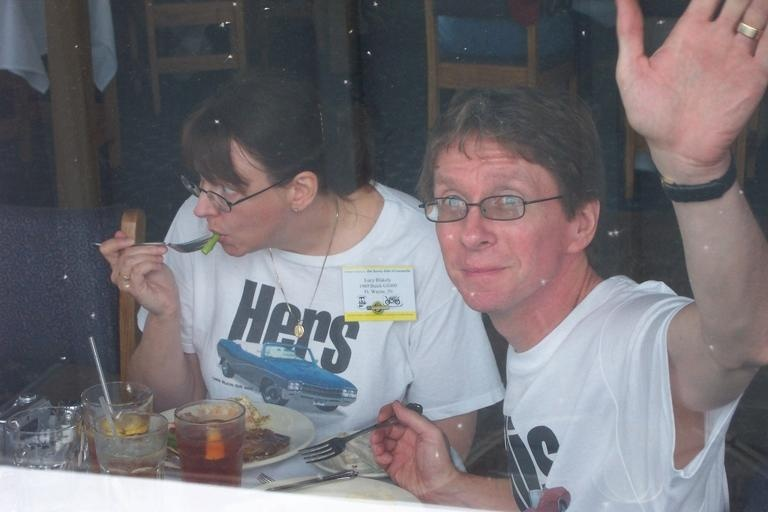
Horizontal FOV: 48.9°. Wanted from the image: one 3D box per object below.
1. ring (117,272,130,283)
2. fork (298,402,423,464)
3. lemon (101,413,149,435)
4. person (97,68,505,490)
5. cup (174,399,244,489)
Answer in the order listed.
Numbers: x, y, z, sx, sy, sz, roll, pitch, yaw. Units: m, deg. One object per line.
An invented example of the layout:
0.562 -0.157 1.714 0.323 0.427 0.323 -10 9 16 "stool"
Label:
-0.611 0.049 1.976 0.026 0.025 0.022 6 -5 12 "ring"
-0.045 0.398 1.889 0.289 0.040 0.033 -19 -19 -3 "fork"
-0.533 0.345 1.744 0.059 0.022 0.057 1 9 9 "lemon"
-0.172 0.051 1.947 0.883 0.809 0.582 6 19 19 "person"
-0.354 0.391 1.732 0.120 0.169 0.112 1 16 0 "cup"
